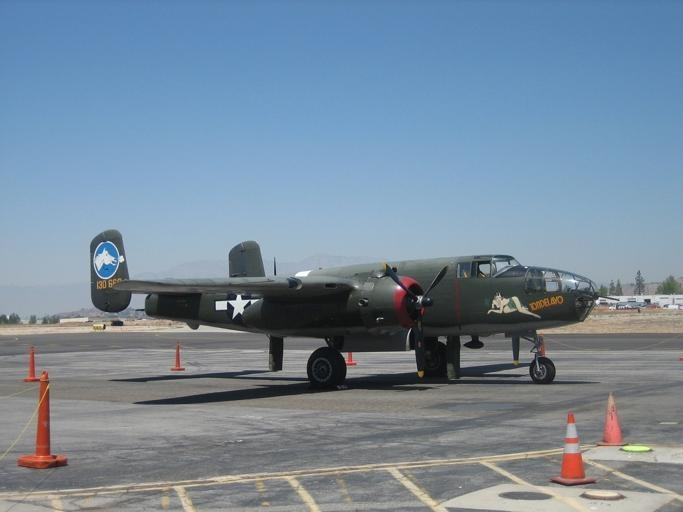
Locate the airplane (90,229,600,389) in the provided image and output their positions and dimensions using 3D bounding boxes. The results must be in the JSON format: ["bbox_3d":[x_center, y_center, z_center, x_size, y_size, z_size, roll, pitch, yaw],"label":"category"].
[{"bbox_3d":[0.118,1.863,23.828,16.626,5.416,8.333,-2,-2,14],"label":"airplane"}]

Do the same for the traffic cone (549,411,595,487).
[{"bbox_3d":[3.510,2.965,10.618,0.611,1.056,0.303,-4,-3,13],"label":"traffic cone"}]
